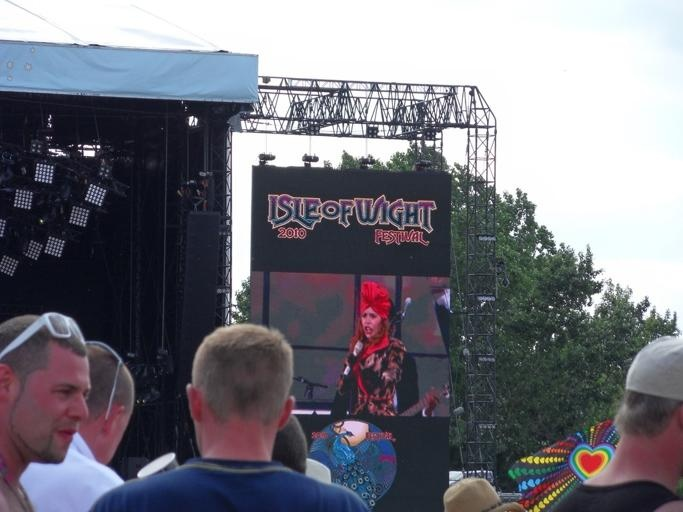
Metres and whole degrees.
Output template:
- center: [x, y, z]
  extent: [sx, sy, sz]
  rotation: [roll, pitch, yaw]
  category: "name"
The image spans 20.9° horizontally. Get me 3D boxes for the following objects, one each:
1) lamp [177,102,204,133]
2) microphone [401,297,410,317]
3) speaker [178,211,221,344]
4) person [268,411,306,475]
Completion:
- center: [-3.864, -3.577, 47.959]
  extent: [0.539, 0.649, 1.013]
  rotation: [1, -9, 14]
  category: "lamp"
- center: [1.773, 1.379, 51.037]
  extent: [0.155, 0.637, 0.159]
  rotation: [21, -7, 10]
  category: "microphone"
- center: [-3.513, 0.493, 45.911]
  extent: [0.530, 3.835, 0.703]
  rotation: [-3, 1, -40]
  category: "speaker"
- center: [-1.091, 3.729, 36.921]
  extent: [0.573, 1.258, 0.601]
  rotation: [1, -2, 23]
  category: "person"
